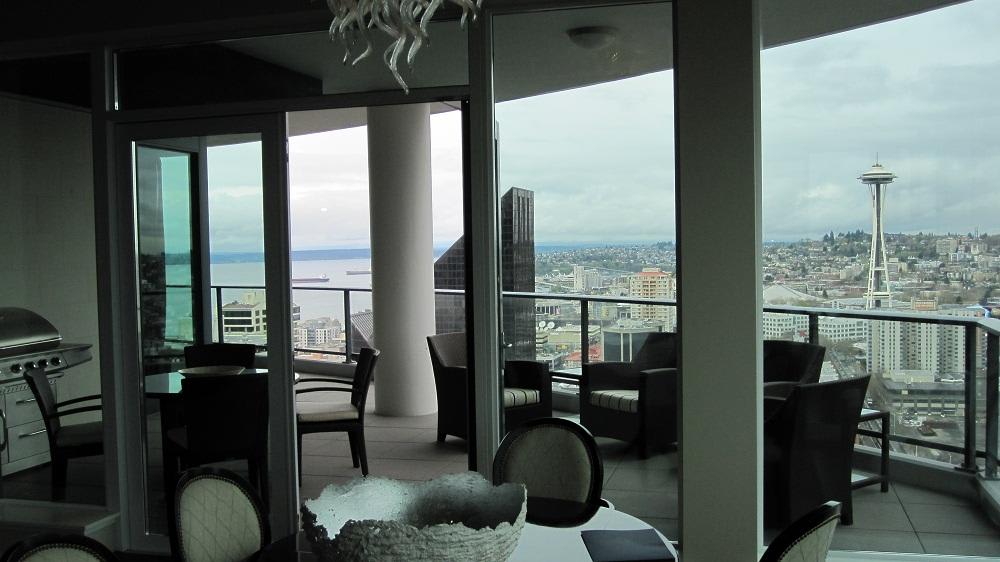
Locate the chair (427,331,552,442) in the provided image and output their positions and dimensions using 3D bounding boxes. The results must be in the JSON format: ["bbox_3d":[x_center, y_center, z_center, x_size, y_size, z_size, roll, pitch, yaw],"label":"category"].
[{"bbox_3d":[-0.126,0.907,6.609,0.859,0.754,1.031,-2,-1,-22],"label":"chair"}]

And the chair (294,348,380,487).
[{"bbox_3d":[-1.727,1.290,7.477,1.106,1.045,1.036,-1,1,15],"label":"chair"}]

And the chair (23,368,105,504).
[{"bbox_3d":[-3.791,1.343,6.761,0.593,0.714,0.614,-22,7,-20],"label":"chair"}]

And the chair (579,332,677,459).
[{"bbox_3d":[1.171,0.888,6.176,0.927,0.794,0.855,1,1,28],"label":"chair"}]

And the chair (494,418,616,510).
[{"bbox_3d":[0.398,1.229,5.430,0.785,0.753,0.614,1,-2,8],"label":"chair"}]
